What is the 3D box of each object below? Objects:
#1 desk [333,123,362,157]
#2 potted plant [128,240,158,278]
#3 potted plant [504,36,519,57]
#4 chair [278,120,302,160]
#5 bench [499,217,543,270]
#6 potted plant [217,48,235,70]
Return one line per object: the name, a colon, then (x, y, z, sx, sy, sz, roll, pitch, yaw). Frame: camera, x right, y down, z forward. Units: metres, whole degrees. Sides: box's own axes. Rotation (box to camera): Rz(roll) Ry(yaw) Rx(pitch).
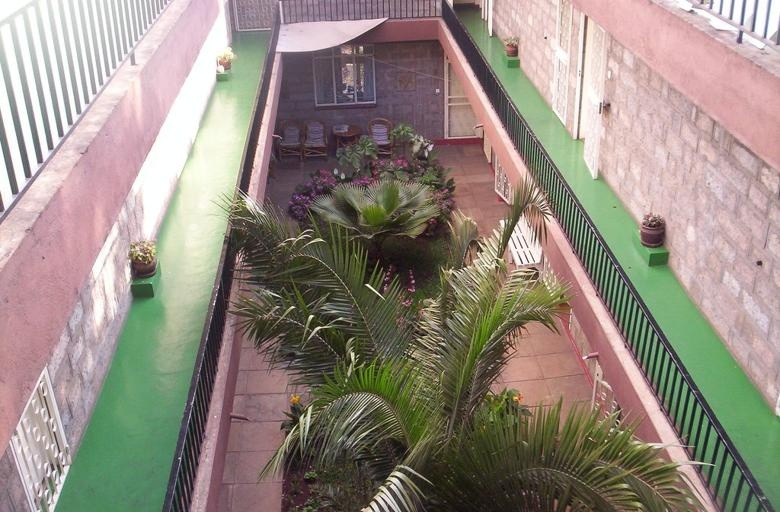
desk: (-1.320, -3.860, 18.023, 0.923, 1.151, 1.067, -2, 45, -1)
potted plant: (-3.704, 0.042, 8.773, 0.453, 0.538, 0.494, 1, 47, -8)
potted plant: (3.075, -5.265, 14.276, 0.370, 0.453, 0.253, 6, 20, 14)
chair: (-3.043, -3.515, 17.649, 0.881, 1.352, 0.946, -1, 59, -5)
bench: (2.827, -0.114, 11.588, 0.511, 0.423, 1.346, -33, 3, 28)
potted plant: (-4.264, -5.066, 14.662, 0.446, 0.542, 0.371, -13, 24, -34)
